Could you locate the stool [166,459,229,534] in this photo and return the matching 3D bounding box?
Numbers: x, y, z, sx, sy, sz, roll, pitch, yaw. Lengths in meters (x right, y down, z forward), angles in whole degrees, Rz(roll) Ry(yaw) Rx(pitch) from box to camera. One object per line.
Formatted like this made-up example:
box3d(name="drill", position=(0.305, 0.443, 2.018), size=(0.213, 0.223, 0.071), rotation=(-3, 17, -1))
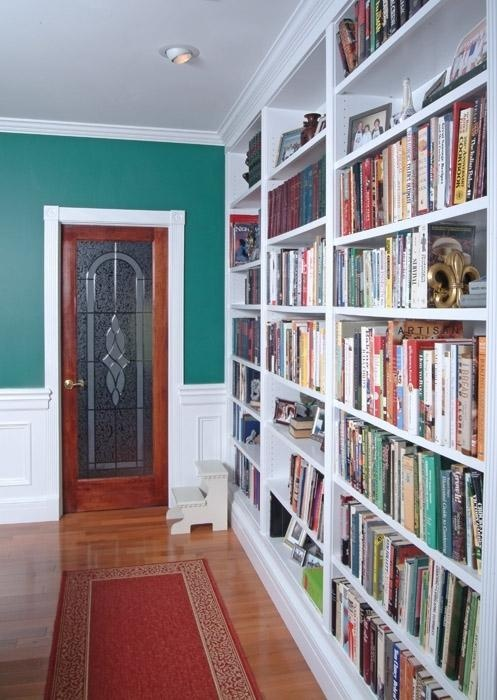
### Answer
box3d(name="stool", position=(-0.342, 0.947, 3.546), size=(0.345, 0.409, 0.414), rotation=(2, -3, -11))
